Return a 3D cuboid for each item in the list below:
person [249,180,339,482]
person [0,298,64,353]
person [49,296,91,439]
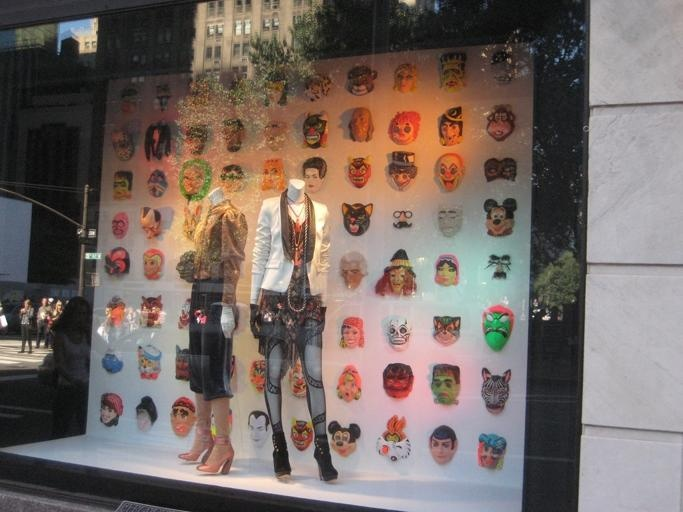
[{"bbox_3d":[-0.359,0.546,5.731,0.697,2.286,0.164,-1,-6,20],"label":"person"},{"bbox_3d":[-2.638,0.601,6.410,0.420,0.855,0.308,-2,-7,9],"label":"person"},{"bbox_3d":[-2.285,0.933,6.288,0.372,1.180,0.116,-1,-6,22],"label":"person"}]
